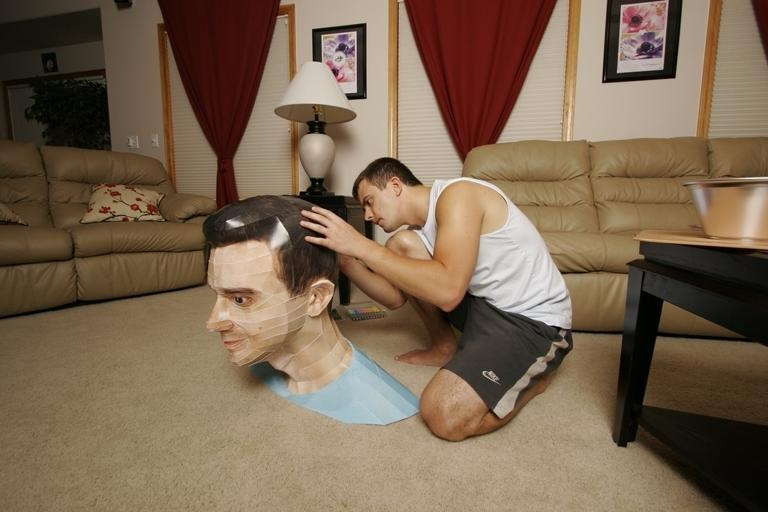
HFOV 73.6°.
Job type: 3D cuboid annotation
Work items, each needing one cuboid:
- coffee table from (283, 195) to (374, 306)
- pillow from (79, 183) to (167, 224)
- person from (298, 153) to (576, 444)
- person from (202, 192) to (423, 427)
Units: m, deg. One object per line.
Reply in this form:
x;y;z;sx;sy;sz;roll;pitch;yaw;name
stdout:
-0.340;-0.034;4.097;0.467;0.671;0.817;11;-7;40;coffee table
-2.100;-0.417;4.175;0.411;0.132;0.429;4;38;-27;pillow
0.278;0.143;2.851;1.302;1.385;1.175;6;12;38;person
-0.443;0.235;2.611;1.183;1.077;0.810;10;17;41;person
